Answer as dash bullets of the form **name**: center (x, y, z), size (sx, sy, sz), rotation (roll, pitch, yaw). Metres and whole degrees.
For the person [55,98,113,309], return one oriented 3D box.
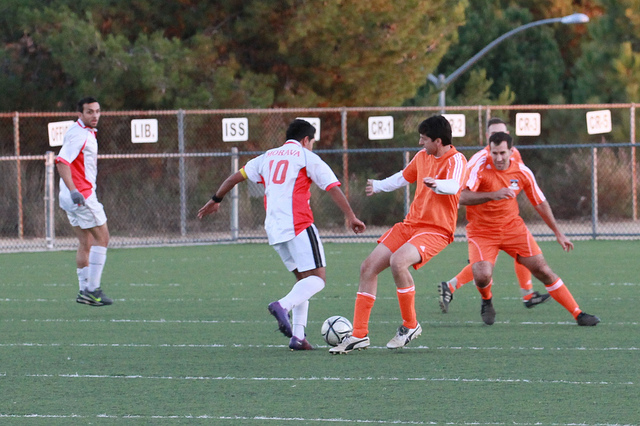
- **person**: center (-4.240, -0.182, 18.413), size (0.846, 3.826, 0.793), rotation (-3, 0, -13)

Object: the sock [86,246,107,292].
- **sock**: center (-4.029, 0.978, 18.434), size (0.359, 0.815, 0.531), rotation (-3, 0, -13)

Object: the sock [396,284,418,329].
- **sock**: center (1.364, 1.461, 16.192), size (0.282, 0.671, 0.382), rotation (-3, 0, 3)

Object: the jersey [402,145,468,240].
- **jersey**: center (1.788, -0.318, 16.161), size (0.999, 1.438, 0.885), rotation (-3, 0, 13)

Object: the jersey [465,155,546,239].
- **jersey**: center (3.065, -0.228, 17.381), size (1.742, 1.487, 0.891), rotation (4, -5, -14)

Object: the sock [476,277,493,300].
- **sock**: center (2.777, 1.266, 17.331), size (0.249, 0.357, 0.195), rotation (-3, 0, -6)

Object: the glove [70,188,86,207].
- **glove**: center (-4.275, -0.292, 18.110), size (0.259, 0.317, 0.278), rotation (-3, 1, -13)
